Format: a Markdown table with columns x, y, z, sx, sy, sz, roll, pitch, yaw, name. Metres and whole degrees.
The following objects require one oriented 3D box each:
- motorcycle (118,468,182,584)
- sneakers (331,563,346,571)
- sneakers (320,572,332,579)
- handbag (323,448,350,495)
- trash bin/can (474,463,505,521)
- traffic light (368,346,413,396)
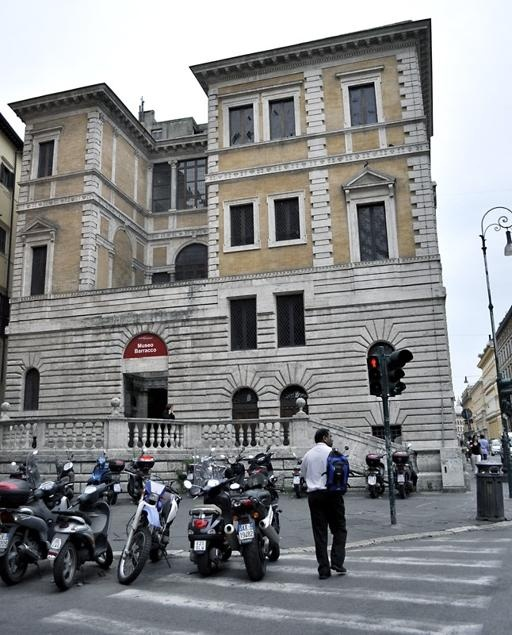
| x | y | z | sx | sy | sz | roll | pitch | yaw | name |
| --- | --- | --- | --- | --- | --- | --- | --- | --- | --- |
| -1.314 | 2.554 | 9.106 | 0.550 | 1.156 | 2.007 | 13 | -5 | 7 | motorcycle |
| 0.951 | 2.892 | 8.197 | 0.179 | 0.099 | 0.243 | -3 | -12 | 5 | sneakers |
| 0.765 | 2.873 | 7.951 | 0.124 | 0.078 | 0.157 | -3 | -12 | 6 | sneakers |
| 0.946 | 1.798 | 8.293 | 0.269 | 0.444 | 0.249 | 2 | 2 | -24 | handbag |
| 4.388 | 3.281 | 13.446 | 0.519 | 1.063 | 0.564 | -6 | -12 | 17 | trash bin/can |
| 2.414 | 0.964 | 13.028 | 0.914 | 0.952 | 0.540 | -11 | -14 | 35 | traffic light |
